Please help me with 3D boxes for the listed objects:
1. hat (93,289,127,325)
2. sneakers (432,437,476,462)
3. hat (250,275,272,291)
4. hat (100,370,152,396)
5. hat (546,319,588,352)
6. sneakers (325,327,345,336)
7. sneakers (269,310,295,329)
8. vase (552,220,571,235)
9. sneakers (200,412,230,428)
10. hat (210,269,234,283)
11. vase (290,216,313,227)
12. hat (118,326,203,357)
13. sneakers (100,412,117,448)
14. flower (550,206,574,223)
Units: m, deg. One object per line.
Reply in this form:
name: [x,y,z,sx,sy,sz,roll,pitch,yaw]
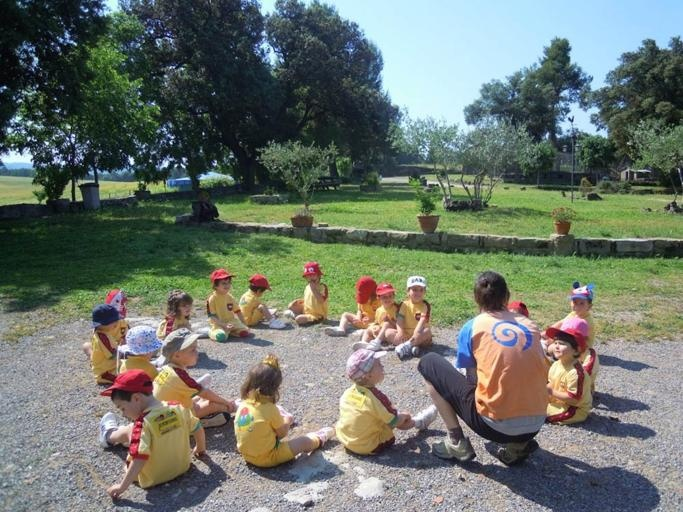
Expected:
hat: [-2.660,0.600,6.433,0.255,0.232,0.426,1,18,7]
sneakers: [1.012,1.765,5.159,0.392,0.199,0.172,2,3,31]
hat: [-1.103,0.403,7.782,0.197,0.166,0.276,16,14,38]
hat: [-1.889,1.131,5.026,0.334,0.179,0.225,4,-8,-17]
hat: [2.330,0.768,5.648,0.446,0.244,0.332,29,-13,-14]
sneakers: [-0.093,0.997,7.375,0.259,0.113,0.122,9,18,4]
sneakers: [-0.840,0.899,7.802,0.456,0.198,0.146,-14,-10,40]
vase: [4.609,-0.618,11.719,0.296,0.240,0.314,3,8,17]
sneakers: [-1.234,1.624,5.571,0.319,0.154,0.111,-7,10,-15]
hat: [-1.605,0.284,7.380,0.278,0.160,0.225,-22,-10,27]
vase: [-0.992,-0.858,13.973,0.509,0.292,0.440,-2,10,-5]
hat: [-1.851,0.860,5.648,0.524,0.140,0.418,-2,4,-26]
sneakers: [-2.227,1.647,5.312,0.139,0.360,0.143,23,-38,-37]
flower: [4.622,-0.863,11.877,0.416,0.379,0.470,4,9,42]
